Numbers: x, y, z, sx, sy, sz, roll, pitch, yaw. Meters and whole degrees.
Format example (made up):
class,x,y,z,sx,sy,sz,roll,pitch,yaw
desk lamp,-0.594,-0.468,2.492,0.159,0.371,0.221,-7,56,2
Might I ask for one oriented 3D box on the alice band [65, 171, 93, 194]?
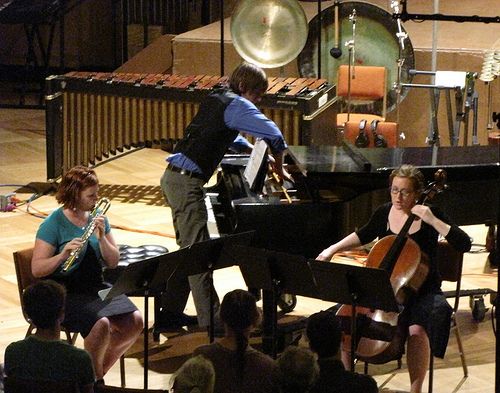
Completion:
class,x,y,z,sx,sy,sz,roll,pitch,yaw
alice band,-0.967,-0.083,3.256,0.142,0.121,0.113,-10,-7,9

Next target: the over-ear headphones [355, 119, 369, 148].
class,x,y,z,sx,sy,sz,roll,pitch,yaw
over-ear headphones,1.322,-0.758,6.730,0.152,0.358,0.383,3,16,10

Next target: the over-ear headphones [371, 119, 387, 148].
class,x,y,z,sx,sy,sz,roll,pitch,yaw
over-ear headphones,1.492,-0.726,6.523,0.194,0.241,0.108,3,1,12

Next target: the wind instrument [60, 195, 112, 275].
class,x,y,z,sx,sy,sz,roll,pitch,yaw
wind instrument,-0.943,0.225,3.299,0.197,0.429,0.429,3,1,15

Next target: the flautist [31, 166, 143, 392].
class,x,y,z,sx,sy,sz,roll,pitch,yaw
flautist,-0.980,0.513,3.350,0.517,1.380,0.539,3,4,43
